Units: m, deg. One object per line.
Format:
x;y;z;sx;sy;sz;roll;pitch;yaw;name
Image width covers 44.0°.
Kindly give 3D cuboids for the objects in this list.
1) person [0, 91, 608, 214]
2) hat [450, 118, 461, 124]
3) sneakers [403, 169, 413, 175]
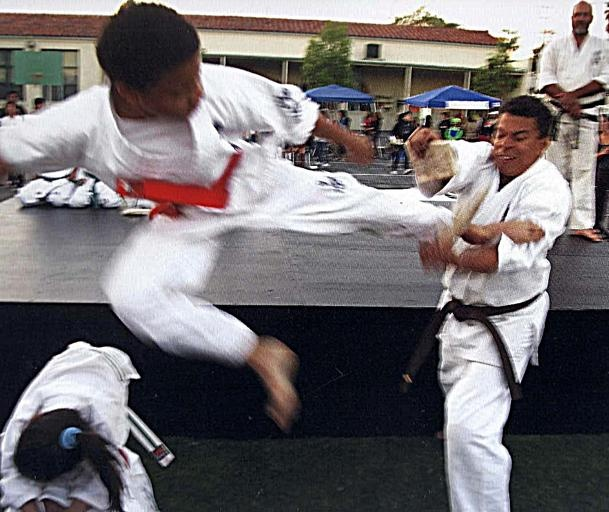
-0.025;-0.387;3.029;1.549;0.389;1.052;1;28;1;person
2.064;-1.791;10.256;0.154;0.128;0.160;0;4;7;hat
1.331;-1.057;9.725;0.077;0.083;0.240;-1;13;18;sneakers
